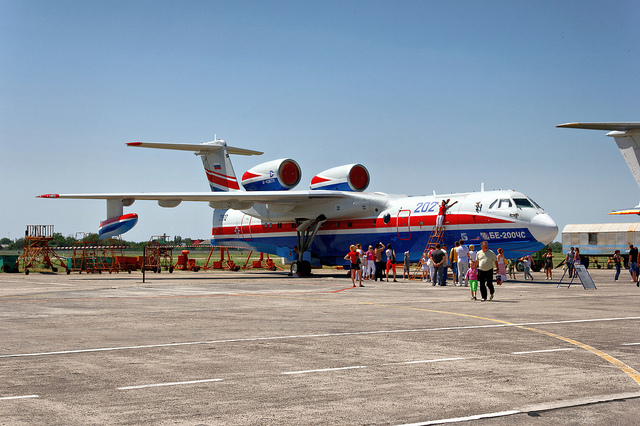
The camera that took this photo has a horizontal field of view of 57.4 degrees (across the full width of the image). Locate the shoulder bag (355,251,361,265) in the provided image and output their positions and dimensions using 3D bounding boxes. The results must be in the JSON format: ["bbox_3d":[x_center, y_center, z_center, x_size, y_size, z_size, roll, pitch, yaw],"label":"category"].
[{"bbox_3d":[1.805,2.215,27.506,0.138,0.388,0.576,-1,-32,19],"label":"shoulder bag"}]

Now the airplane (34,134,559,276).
[{"bbox_3d":[0.771,-1.075,36.587,24.069,9.834,9.235,-5,-8,26],"label":"airplane"}]

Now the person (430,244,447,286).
[{"bbox_3d":[5.828,2.716,28.816,0.780,1.783,0.989,-3,-8,11],"label":"person"}]
